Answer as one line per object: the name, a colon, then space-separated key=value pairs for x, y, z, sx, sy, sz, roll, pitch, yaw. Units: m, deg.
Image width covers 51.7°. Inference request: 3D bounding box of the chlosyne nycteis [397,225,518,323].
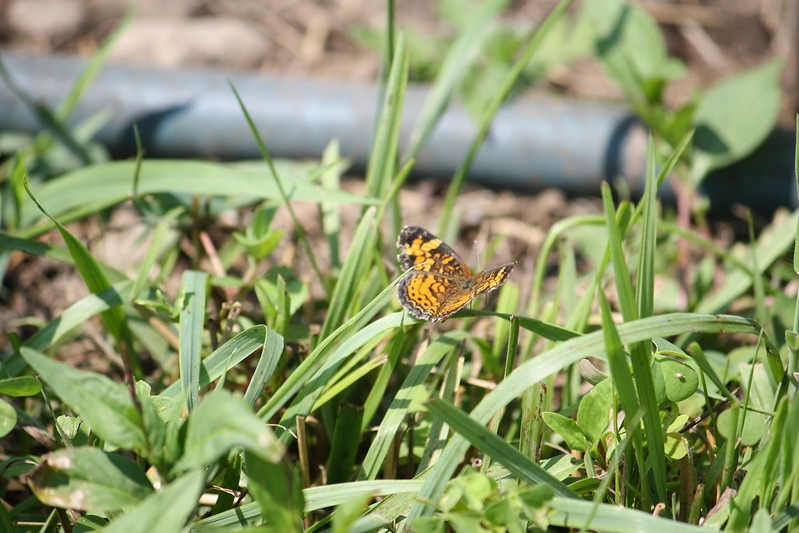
chlosyne nycteis: x=0.184 y=0.020 z=2.764 sx=0.392 sy=0.309 sz=0.416 roll=0 pitch=3 yaw=0
